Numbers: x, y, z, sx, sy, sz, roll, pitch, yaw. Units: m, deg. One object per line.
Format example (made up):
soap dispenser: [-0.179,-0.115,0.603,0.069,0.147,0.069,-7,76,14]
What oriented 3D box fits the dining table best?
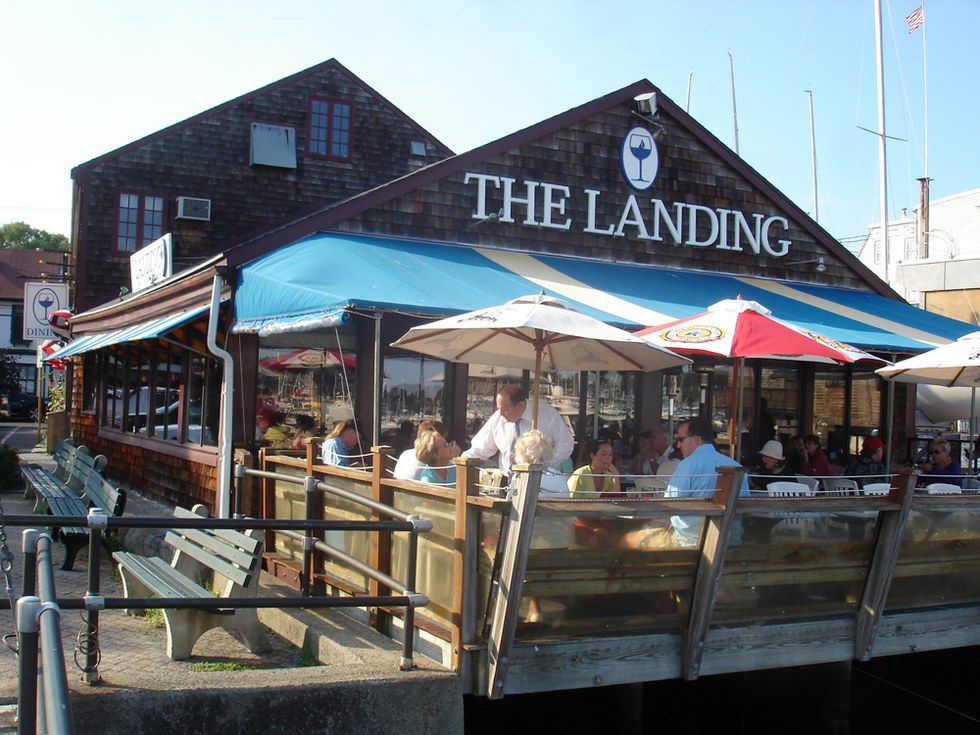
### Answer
dining table: [-0.250,1.376,7.955,0.469,0.826,0.859,1,-1,-23]

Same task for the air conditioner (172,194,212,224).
air conditioner: [-6.604,-3.362,23.774,0.882,0.622,0.490,1,2,-31]

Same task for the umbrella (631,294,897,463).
umbrella: [2.503,-0.257,10.728,1.883,1.324,1.952,3,3,34]

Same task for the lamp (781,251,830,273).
lamp: [5.120,-1.722,17.487,0.350,0.315,0.587,0,2,-32]

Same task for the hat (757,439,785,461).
hat: [3.372,0.985,13.069,0.387,0.249,0.414,3,-5,36]

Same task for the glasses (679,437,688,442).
glasses: [1.688,0.615,9.515,0.047,0.050,0.015,4,-22,-1]

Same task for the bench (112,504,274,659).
bench: [-2.538,1.924,9.141,1.765,0.677,0.641,-8,-22,43]
